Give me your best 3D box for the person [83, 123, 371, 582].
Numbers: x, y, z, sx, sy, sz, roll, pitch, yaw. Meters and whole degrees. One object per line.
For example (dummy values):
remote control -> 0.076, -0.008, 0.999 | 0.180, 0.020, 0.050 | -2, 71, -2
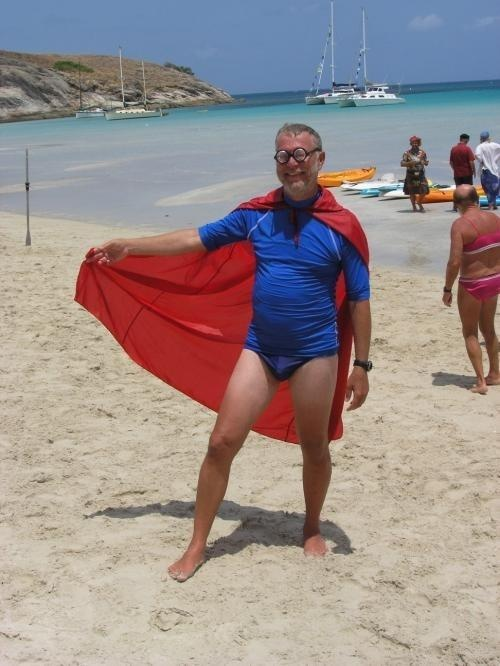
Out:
person -> -0.094, 0.046, 3.723 | 1.170, 2.062, 1.187 | -8, 13, -16

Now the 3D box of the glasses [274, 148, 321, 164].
glasses -> 0.213, -0.777, 3.282 | 0.210, 0.067, 0.142 | -2, 10, 3

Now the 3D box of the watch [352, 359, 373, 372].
watch -> 0.512, 0.145, 3.385 | 0.082, 0.036, 0.056 | 12, -4, 20
